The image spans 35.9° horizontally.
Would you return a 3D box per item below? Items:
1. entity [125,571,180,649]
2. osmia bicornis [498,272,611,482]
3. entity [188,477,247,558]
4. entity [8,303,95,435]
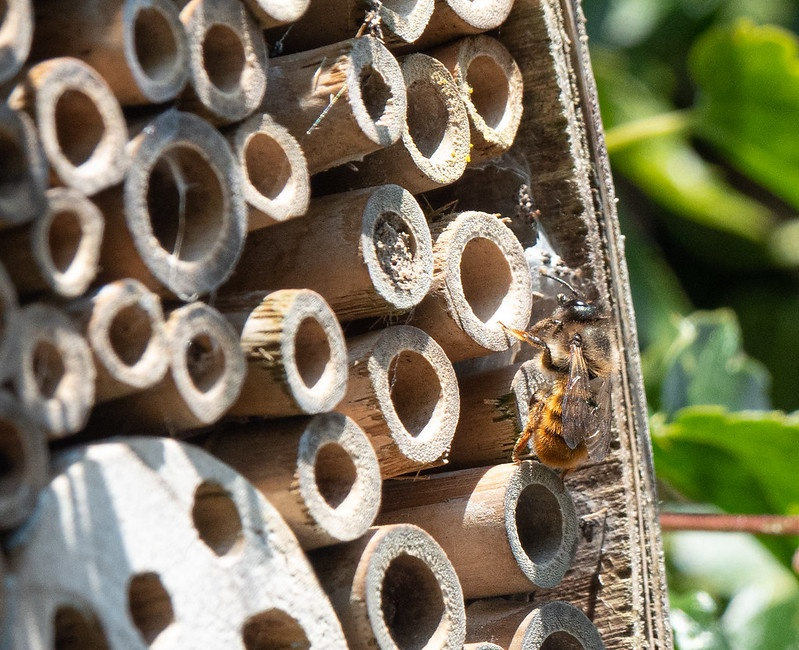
[{"bbox_3d":[-0.314,0.352,1.543,0.063,0.074,0.080,-33,87,-5],"label":"entity"},{"bbox_3d":[0.303,0.107,2.290,0.083,0.228,0.323,-18,54,20],"label":"osmia bicornis"},{"bbox_3d":[-0.245,0.254,1.655,0.029,0.075,0.103,-11,88,36],"label":"entity"},{"bbox_3d":[-0.410,0.057,1.462,0.092,0.037,0.147,-18,94,-38],"label":"entity"}]
